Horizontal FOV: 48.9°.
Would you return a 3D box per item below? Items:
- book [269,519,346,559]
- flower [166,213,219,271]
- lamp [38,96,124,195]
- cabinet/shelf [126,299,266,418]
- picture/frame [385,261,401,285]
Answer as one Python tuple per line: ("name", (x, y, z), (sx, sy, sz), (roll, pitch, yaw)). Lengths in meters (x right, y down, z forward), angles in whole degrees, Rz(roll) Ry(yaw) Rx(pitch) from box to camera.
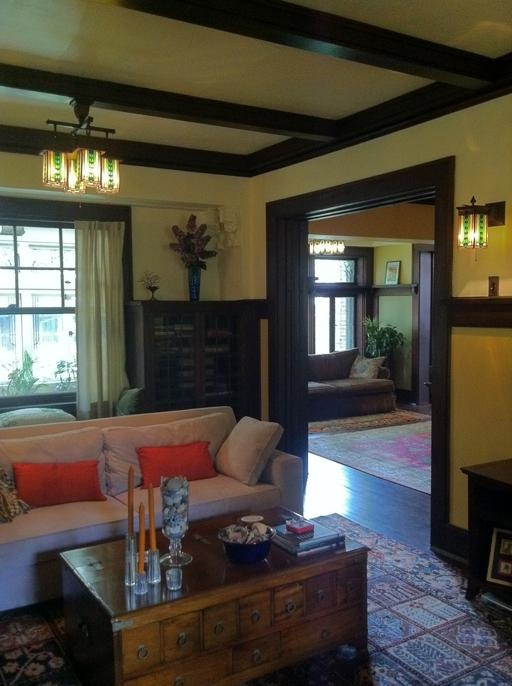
("book", (0.238, 0.788, 2.320), (0.164, 0.038, 0.161), (0, 3, -41))
("flower", (-0.540, -0.925, 5.296), (0.539, 0.652, 0.498), (0, 11, 13))
("lamp", (-0.972, -1.076, 3.088), (0.420, 0.447, 0.387), (0, 8, -11))
("cabinet/shelf", (-0.631, 0.234, 5.216), (1.195, 1.269, 0.467), (-3, 5, -40))
("picture/frame", (2.242, -1.138, 9.169), (0.044, 0.488, 0.385), (7, 3, -28))
